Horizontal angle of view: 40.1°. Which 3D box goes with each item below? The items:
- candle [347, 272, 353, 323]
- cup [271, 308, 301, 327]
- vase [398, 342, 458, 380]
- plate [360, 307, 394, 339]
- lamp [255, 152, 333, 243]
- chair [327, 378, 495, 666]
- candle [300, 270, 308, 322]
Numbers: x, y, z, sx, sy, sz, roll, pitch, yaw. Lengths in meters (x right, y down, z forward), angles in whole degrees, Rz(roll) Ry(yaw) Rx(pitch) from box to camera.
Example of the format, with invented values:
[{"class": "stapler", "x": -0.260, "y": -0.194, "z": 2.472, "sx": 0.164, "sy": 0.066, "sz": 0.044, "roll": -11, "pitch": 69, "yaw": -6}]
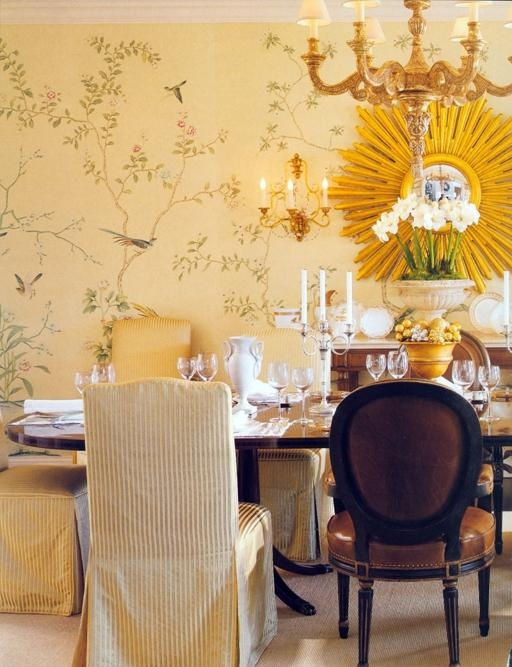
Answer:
[{"class": "candle", "x": 0.282, "y": -0.106, "z": 2.125, "sx": 0.012, "sy": 0.155, "sz": 0.066, "roll": -2, "pitch": 3, "yaw": 15}, {"class": "cup", "x": 0.162, "y": -0.084, "z": 3.790, "sx": 0.124, "sy": 0.076, "sz": 0.130, "roll": 0, "pitch": -6, "yaw": 0}, {"class": "vase", "x": 0.520, "y": 0.090, "z": 2.105, "sx": 0.143, "sy": 0.087, "sz": 0.127, "roll": -1, "pitch": -4, "yaw": -13}, {"class": "plate", "x": 0.678, "y": -0.062, "z": 3.897, "sx": 0.215, "sy": 0.165, "sz": 0.119, "roll": -3, "pitch": 2, "yaw": -8}, {"class": "lamp", "x": 0.231, "y": -0.794, "z": 3.981, "sx": 0.531, "sy": 0.591, "sz": 0.324, "roll": 1, "pitch": 8, "yaw": 11}, {"class": "chair", "x": 0.351, "y": 0.452, "z": 1.668, "sx": 0.385, "sy": 0.704, "sz": 0.230, "roll": -2, "pitch": 3, "yaw": 14}, {"class": "candle", "x": 0.152, "y": -0.111, "z": 2.185, "sx": 0.016, "sy": 0.173, "sz": 0.065, "roll": -3, "pitch": 3, "yaw": 0}]
